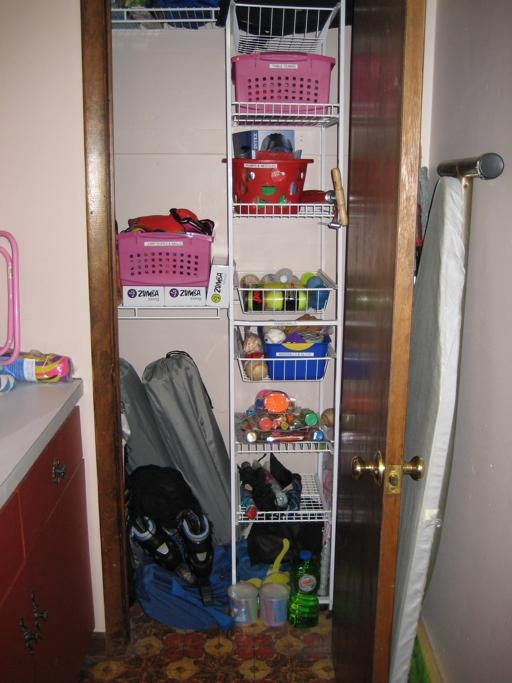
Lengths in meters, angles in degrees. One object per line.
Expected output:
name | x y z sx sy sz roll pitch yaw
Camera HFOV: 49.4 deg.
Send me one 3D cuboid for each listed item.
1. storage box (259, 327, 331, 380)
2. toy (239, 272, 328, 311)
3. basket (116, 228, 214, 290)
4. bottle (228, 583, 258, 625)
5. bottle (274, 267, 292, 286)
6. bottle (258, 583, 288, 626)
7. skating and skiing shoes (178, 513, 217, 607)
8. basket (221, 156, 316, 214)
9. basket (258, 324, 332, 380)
storage box | 0.131 0.034 1.792 0.126 0.129 0.179 0 1 -2
toy | 0.085 -0.166 1.839 0.276 0.106 0.441 -2 16 -1
basket | -0.285 -0.254 1.704 0.177 0.134 0.203 -1 16 -2
bottle | -0.040 0.853 1.853 0.094 0.130 0.105 1 3 6
bottle | 0.096 -0.236 2.005 0.063 0.078 0.073 9 14 18
bottle | 0.048 0.850 1.850 0.094 0.124 0.099 1 3 0
skating and skiing shoes | -0.207 0.726 1.896 0.081 0.304 0.110 -2 -24 -19
basket | 0.030 -0.461 1.614 0.169 0.123 0.188 4 24 14
basket | 0.125 0.028 1.737 0.133 0.143 0.186 0 1 -5
